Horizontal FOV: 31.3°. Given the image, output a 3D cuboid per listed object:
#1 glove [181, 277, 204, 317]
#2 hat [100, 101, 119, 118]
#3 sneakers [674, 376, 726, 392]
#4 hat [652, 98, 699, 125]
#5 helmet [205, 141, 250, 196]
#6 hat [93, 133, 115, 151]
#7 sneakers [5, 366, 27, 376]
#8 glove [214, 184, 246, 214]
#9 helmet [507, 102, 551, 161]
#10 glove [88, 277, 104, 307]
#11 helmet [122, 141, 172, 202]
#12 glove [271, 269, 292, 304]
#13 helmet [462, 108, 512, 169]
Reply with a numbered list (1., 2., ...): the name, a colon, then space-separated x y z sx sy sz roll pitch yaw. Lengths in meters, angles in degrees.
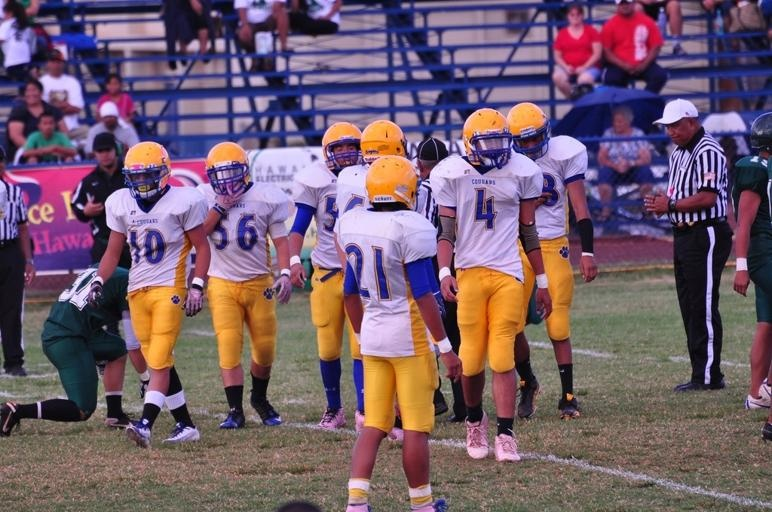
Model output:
1. glove: -1.831 0.426 13.492 0.256 0.353 0.129 -7 -21 35
2. hat: -3.874 -2.050 19.416 0.267 0.209 0.391 -5 14 -12
3. sneakers: 3.197 1.361 14.148 0.561 0.218 0.192 2 -7 3
4. hat: 3.006 -1.487 14.159 0.390 0.202 0.254 -7 11 -20
5. helmet: -1.549 -0.863 13.683 0.402 0.442 0.535 -3 6 2
6. hat: -3.191 -1.294 15.729 0.233 0.169 0.331 -4 14 -7
7. sneakers: -4.111 1.303 15.400 0.268 0.108 0.099 0 6 10
8. glove: -1.544 -0.545 13.749 0.205 0.158 0.282 1 -43 -21
9. helmet: 1.457 -1.334 13.858 0.408 0.540 0.466 -12 -39 12
10. glove: -2.792 0.366 13.420 0.065 0.255 0.159 15 -3 28
11. helmet: -2.264 -0.841 13.566 0.441 0.537 0.566 -2 5 6
12. glove: -1.022 0.324 13.817 0.174 0.353 0.337 -3 14 -4
13. helmet: 0.946 -1.078 12.900 0.410 0.461 0.531 -4 14 -12
